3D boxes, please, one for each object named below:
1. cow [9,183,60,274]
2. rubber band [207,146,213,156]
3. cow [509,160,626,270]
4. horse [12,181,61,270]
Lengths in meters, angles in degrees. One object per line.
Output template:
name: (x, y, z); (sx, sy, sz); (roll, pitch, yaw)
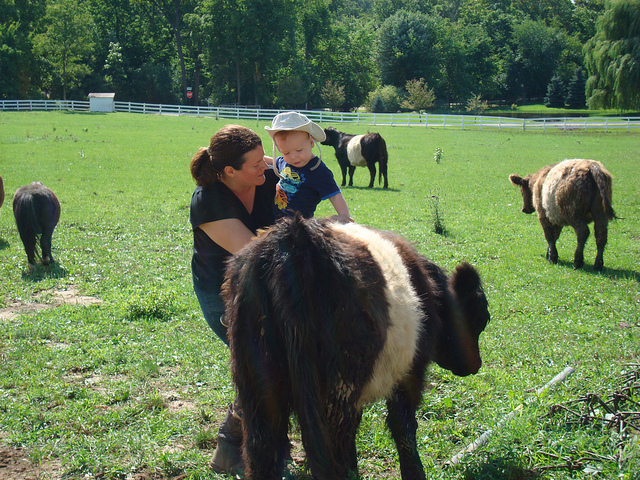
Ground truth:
cow: (-6.350, -0.536, 16.840); (0.855, 2.062, 3.053); (-1, 12, -13)
rubber band: (-1.637, -1.296, 10.873); (0.077, 0.093, 0.111); (-27, 60, -5)
cow: (5.729, -0.605, 17.753); (1.076, 2.579, 4.166); (-1, 3, -9)
horse: (-6.085, -0.321, 15.970); (0.663, 1.658, 0.902); (8, 13, 36)
